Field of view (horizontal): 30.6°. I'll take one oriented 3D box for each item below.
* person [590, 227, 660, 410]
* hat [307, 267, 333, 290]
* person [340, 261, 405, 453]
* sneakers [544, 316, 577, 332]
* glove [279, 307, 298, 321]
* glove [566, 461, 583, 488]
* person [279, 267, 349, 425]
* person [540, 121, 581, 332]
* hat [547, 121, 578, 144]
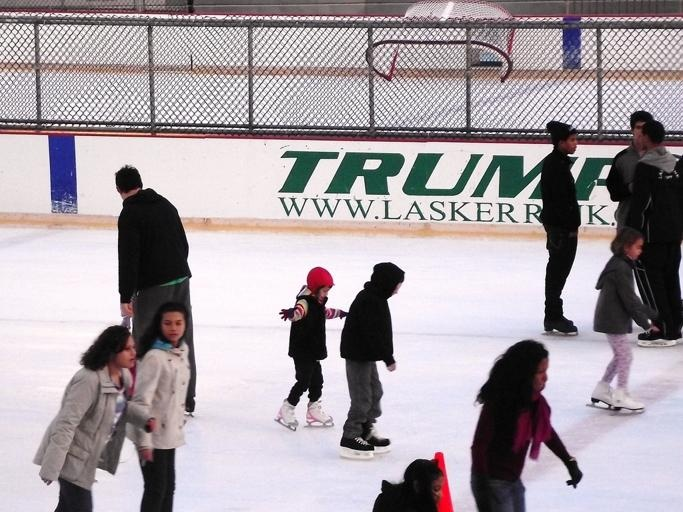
[{"bbox_3d":[2.602,0.584,11.443,0.566,1.657,0.435,3,5,11],"label":"person"},{"bbox_3d":[-0.207,0.217,11.168,0.166,0.200,0.229,-6,-33,36],"label":"hat"},{"bbox_3d":[0.234,0.897,10.759,0.516,1.684,0.302,2,5,2],"label":"person"},{"bbox_3d":[2.320,0.732,13.199,0.301,0.129,0.166,-1,6,8],"label":"sneakers"},{"bbox_3d":[-0.490,0.506,11.151,0.149,0.165,0.351,1,5,-10],"label":"glove"},{"bbox_3d":[1.782,1.674,9.430,0.074,0.237,0.177,-2,47,-7],"label":"glove"},{"bbox_3d":[-0.273,0.913,11.766,0.569,1.531,1.238,3,9,24],"label":"person"},{"bbox_3d":[2.328,-0.290,13.270,0.455,2.229,0.347,2,5,8],"label":"person"},{"bbox_3d":[2.293,-1.295,13.152,0.204,0.235,0.354,-1,6,-31],"label":"hat"}]
